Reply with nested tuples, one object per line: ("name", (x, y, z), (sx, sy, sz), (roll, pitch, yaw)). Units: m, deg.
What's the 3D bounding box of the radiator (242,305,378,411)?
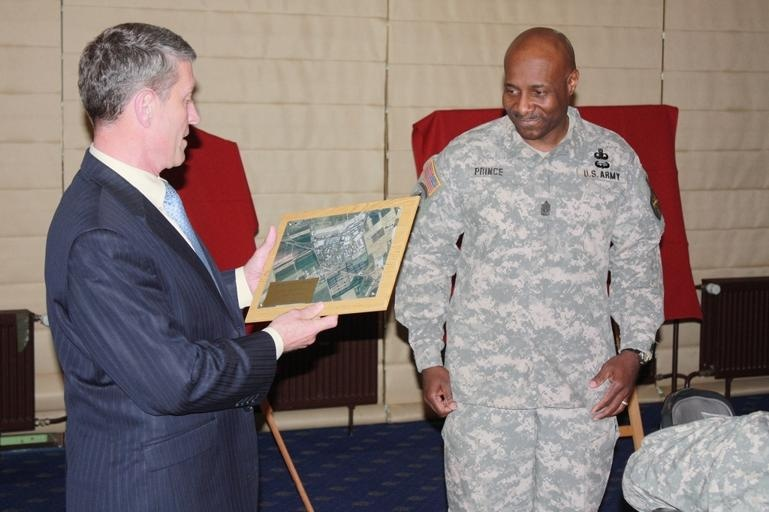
("radiator", (-0.405, 0.565, 4.258), (0.887, 0.799, 0.072), (-1, 1, -12))
